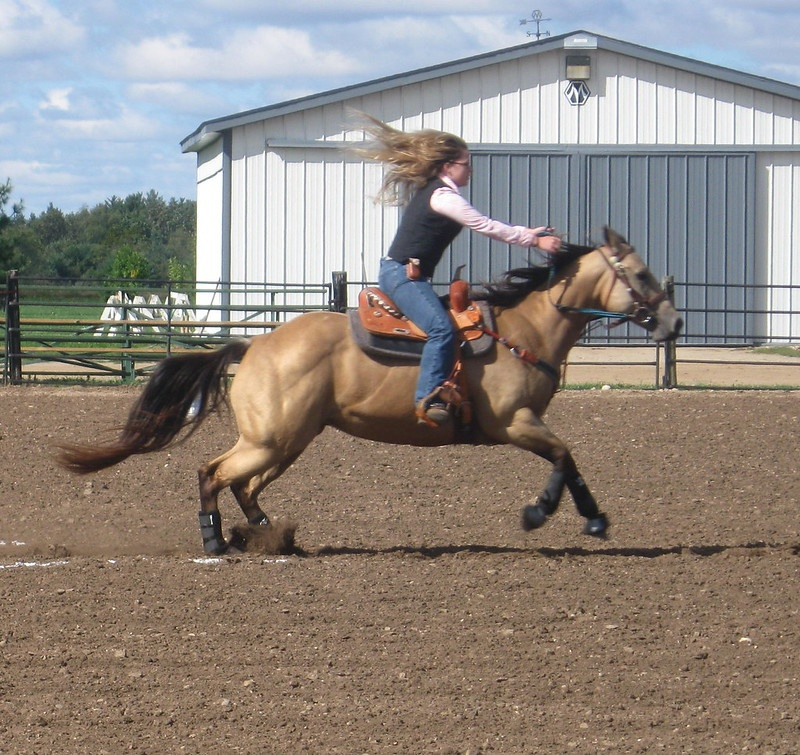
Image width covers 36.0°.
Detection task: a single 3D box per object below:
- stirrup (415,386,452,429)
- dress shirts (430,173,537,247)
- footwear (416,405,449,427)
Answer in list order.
[{"bbox_3d":[0.213,0.172,7.382,0.215,0.230,0.116,12,-9,-15],"label":"stirrup"},{"bbox_3d":[0.542,-0.994,7.490,0.588,0.145,0.387,20,-1,-12],"label":"dress shirts"},{"bbox_3d":[0.214,0.228,7.331,0.147,0.070,0.173,0,4,10],"label":"footwear"}]
